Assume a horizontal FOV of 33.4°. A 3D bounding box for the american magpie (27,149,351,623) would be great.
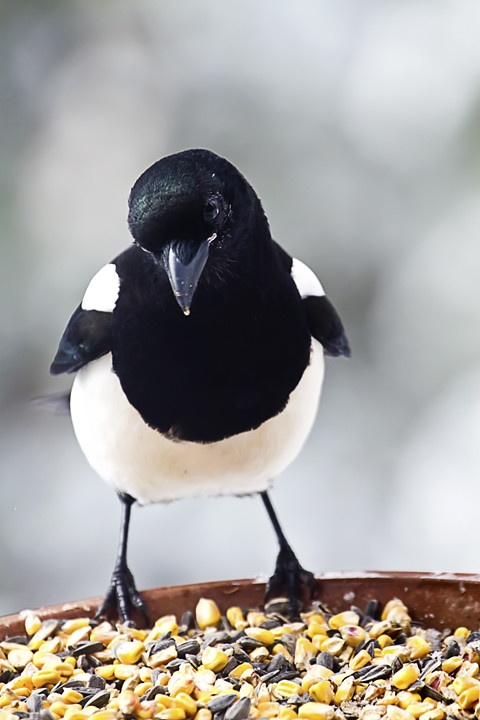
[{"bbox_3d":[-0.104,-0.011,1.746,0.584,0.899,1.152,-2,13,-7],"label":"american magpie"}]
